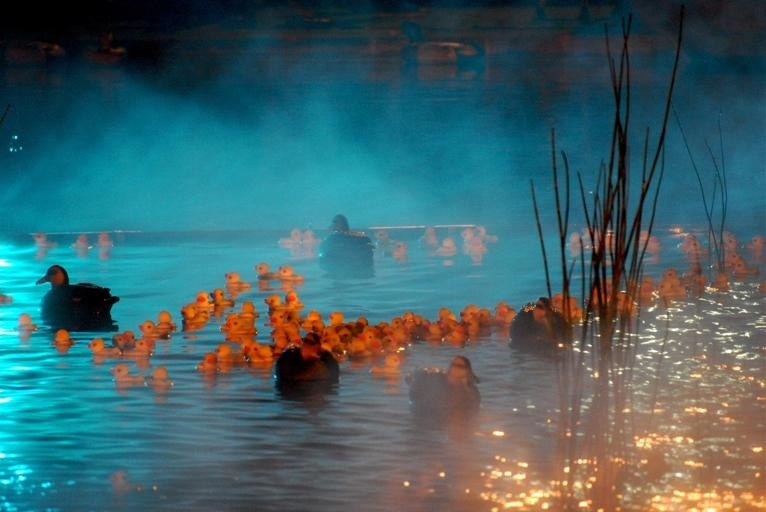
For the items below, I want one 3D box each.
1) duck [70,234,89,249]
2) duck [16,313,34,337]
[{"bbox_3d":[-5.665,-0.249,20.113,0.388,0.332,0.152,-1,-27,10],"label":"duck"},{"bbox_3d":[-4.155,0.801,12.471,0.202,0.219,0.427,-2,4,-19],"label":"duck"}]
